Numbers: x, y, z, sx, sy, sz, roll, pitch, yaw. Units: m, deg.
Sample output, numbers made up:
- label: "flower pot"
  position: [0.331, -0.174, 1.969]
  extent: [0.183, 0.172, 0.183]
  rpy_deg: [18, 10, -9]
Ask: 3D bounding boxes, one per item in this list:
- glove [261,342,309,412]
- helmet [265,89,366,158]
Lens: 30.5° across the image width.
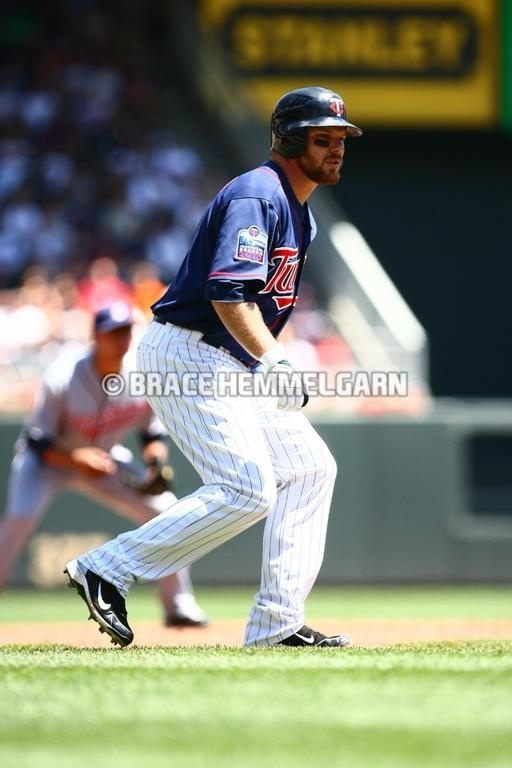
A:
- label: "glove"
  position: [0.063, -0.035, 2.368]
  extent: [0.100, 0.188, 0.183]
  rpy_deg: [-13, 53, -3]
- label: "helmet"
  position: [0.169, -0.721, 2.578]
  extent: [0.239, 0.199, 0.157]
  rpy_deg: [0, 93, 21]
